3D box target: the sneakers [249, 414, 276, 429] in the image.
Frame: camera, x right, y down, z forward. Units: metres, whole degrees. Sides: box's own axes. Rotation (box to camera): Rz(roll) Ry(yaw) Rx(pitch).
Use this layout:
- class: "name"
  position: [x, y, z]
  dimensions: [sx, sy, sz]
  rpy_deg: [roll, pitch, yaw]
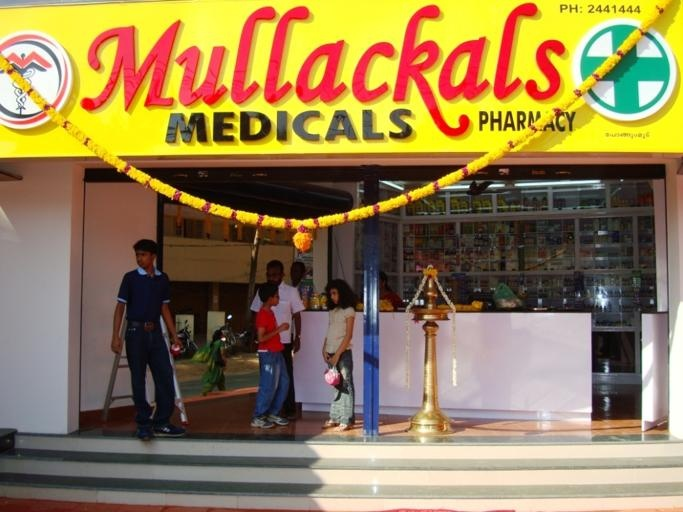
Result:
- class: "sneakers"
  position: [-0.886, 1.845, 7.417]
  dimensions: [0.242, 0.113, 0.108]
  rpy_deg: [1, -4, 3]

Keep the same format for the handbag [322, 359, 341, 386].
- class: "handbag"
  position: [-0.105, 1.300, 7.460]
  dimensions: [0.210, 0.399, 0.255]
  rpy_deg: [-5, -7, 17]

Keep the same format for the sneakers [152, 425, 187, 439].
- class: "sneakers"
  position: [-1.808, 1.832, 6.951]
  dimensions: [0.304, 0.129, 0.128]
  rpy_deg: [2, -7, -4]

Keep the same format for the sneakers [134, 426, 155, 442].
- class: "sneakers"
  position: [-2.018, 1.830, 6.836]
  dimensions: [0.181, 0.143, 0.125]
  rpy_deg: [0, -5, -16]

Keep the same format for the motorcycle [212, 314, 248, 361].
- class: "motorcycle"
  position: [-1.708, 1.225, 10.153]
  dimensions: [0.305, 0.368, 0.633]
  rpy_deg: [-11, -27, 3]

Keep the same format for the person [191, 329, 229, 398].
- class: "person"
  position: [-1.833, 1.475, 9.205]
  dimensions: [0.433, 0.875, 0.468]
  rpy_deg: [0, -5, -13]

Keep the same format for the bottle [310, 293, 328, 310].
- class: "bottle"
  position: [-0.300, 0.611, 9.058]
  dimensions: [0.259, 0.252, 0.152]
  rpy_deg: [9, -11, -43]

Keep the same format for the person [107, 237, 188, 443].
- class: "person"
  position: [-2.026, 0.857, 6.960]
  dimensions: [0.709, 2.058, 0.241]
  rpy_deg: [1, -5, -18]

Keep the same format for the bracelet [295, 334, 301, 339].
- class: "bracelet"
  position: [-0.535, 0.987, 8.204]
  dimensions: [0.047, 0.070, 0.063]
  rpy_deg: [-11, -11, -36]

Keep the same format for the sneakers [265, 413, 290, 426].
- class: "sneakers"
  position: [-0.735, 1.862, 7.601]
  dimensions: [0.247, 0.107, 0.097]
  rpy_deg: [14, 2, -22]

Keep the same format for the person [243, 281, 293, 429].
- class: "person"
  position: [-0.789, 1.103, 7.588]
  dimensions: [0.328, 1.629, 0.483]
  rpy_deg: [-5, -6, 40]

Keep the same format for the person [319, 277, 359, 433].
- class: "person"
  position: [-0.023, 1.082, 7.449]
  dimensions: [0.362, 1.656, 0.347]
  rpy_deg: [-1, -5, -2]

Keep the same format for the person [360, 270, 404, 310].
- class: "person"
  position: [0.649, 0.441, 8.733]
  dimensions: [0.275, 0.519, 0.865]
  rpy_deg: [-1, -4, 6]
